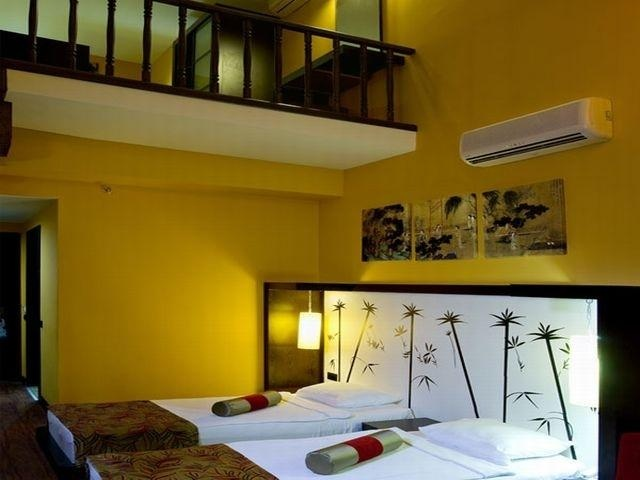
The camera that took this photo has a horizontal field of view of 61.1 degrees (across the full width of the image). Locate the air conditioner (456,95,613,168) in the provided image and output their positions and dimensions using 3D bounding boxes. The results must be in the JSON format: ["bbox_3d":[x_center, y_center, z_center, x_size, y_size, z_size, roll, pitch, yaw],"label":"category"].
[{"bbox_3d":[1.760,-0.908,4.661,0.297,0.418,1.286,-18,8,-33],"label":"air conditioner"}]

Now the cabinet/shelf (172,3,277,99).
[{"bbox_3d":[-1.175,-2.420,6.894,1.162,1.185,1.251,2,-5,-7],"label":"cabinet/shelf"}]

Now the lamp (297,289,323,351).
[{"bbox_3d":[-0.126,0.965,6.560,0.297,0.701,0.235,1,-5,-3],"label":"lamp"}]
